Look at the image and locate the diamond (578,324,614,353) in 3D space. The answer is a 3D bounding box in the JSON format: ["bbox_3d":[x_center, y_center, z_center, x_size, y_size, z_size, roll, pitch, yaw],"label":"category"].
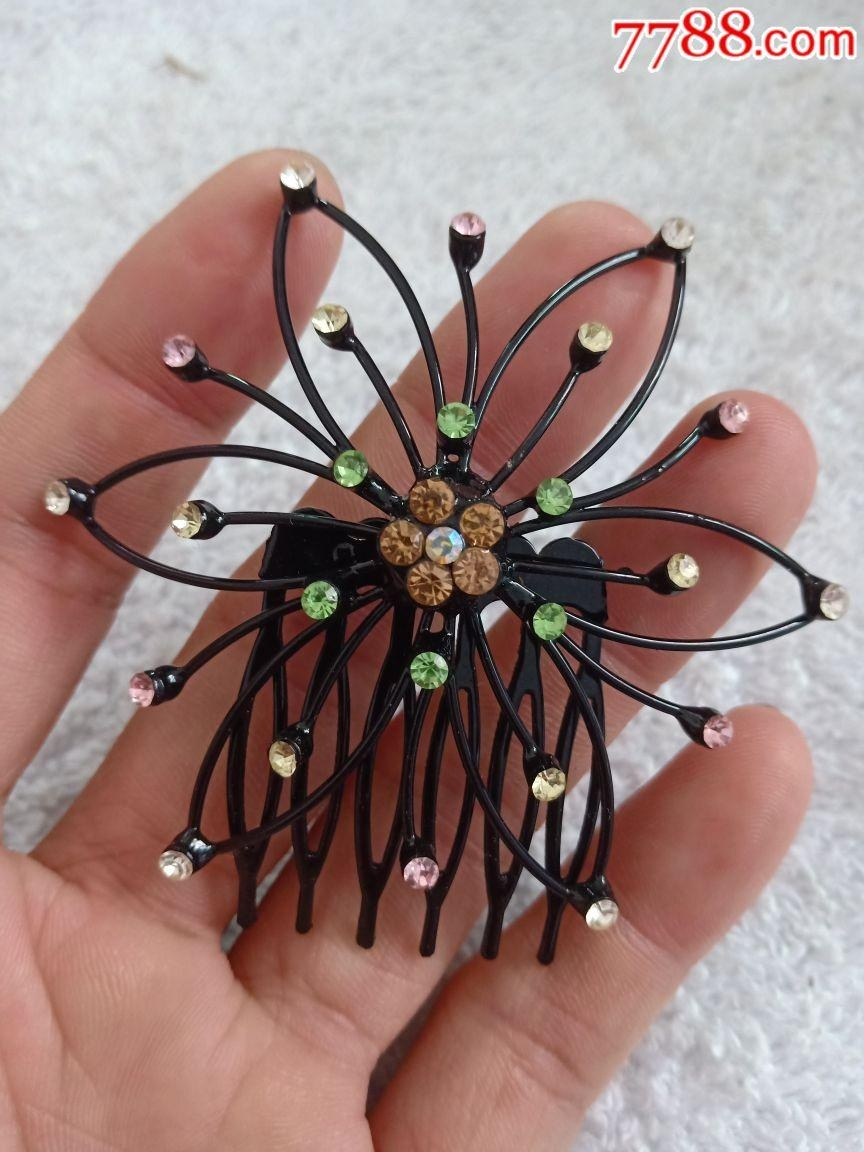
[{"bbox_3d":[0.251,-0.370,1.894,0.053,0.058,0.059,-5,83,3],"label":"diamond"}]

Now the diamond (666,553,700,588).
[{"bbox_3d":[0.390,-0.007,1.856,0.059,0.052,0.047,2,86,-2],"label":"diamond"}]

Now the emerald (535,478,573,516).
[{"bbox_3d":[0.181,-0.119,1.812,0.053,0.054,0.057,-1,83,4],"label":"emerald"}]

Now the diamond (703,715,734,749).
[{"bbox_3d":[0.443,0.243,1.881,0.052,0.040,0.048,0,83,8],"label":"diamond"}]

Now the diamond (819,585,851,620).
[{"bbox_3d":[0.648,0.047,1.973,0.061,0.041,0.049,-2,89,-4],"label":"diamond"}]
